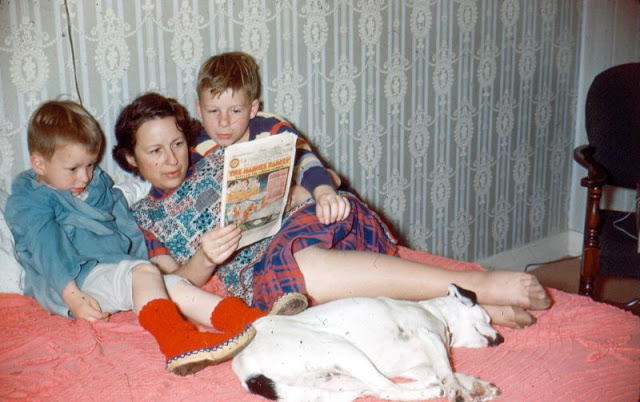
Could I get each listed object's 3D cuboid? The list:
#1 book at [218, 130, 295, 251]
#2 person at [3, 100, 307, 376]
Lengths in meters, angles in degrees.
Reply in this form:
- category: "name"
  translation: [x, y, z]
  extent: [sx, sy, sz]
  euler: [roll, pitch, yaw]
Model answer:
- category: "book"
  translation: [-0.244, -0.020, 2.082]
  extent: [0.375, 0.577, 0.054]
  euler: [-16, 38, -38]
- category: "person"
  translation: [-0.831, 0.120, 2.400]
  extent: [1.335, 0.984, 0.766]
  euler: [19, 16, 14]
